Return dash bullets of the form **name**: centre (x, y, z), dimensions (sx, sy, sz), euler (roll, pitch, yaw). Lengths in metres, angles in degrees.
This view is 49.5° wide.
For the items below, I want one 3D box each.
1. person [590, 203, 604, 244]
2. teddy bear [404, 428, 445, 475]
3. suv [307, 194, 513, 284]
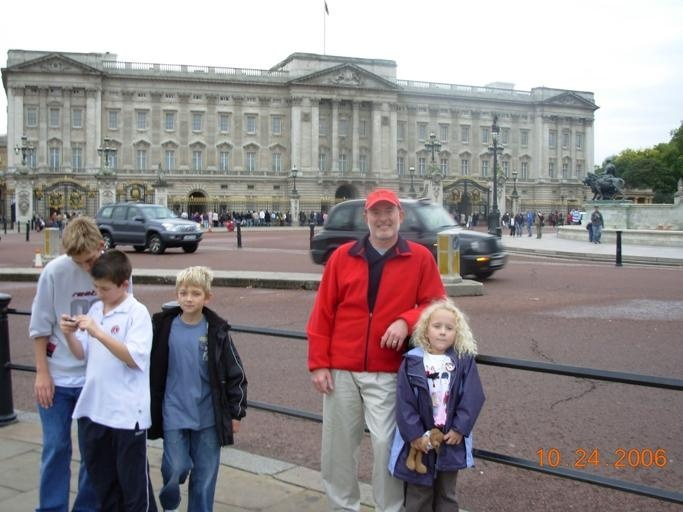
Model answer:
- **person**: centre (11.216, -1.341, 32.551), dimensions (0.555, 1.476, 2.699), euler (2, 5, 18)
- **teddy bear**: centre (0.555, 1.258, 5.104), dimensions (0.154, 0.488, 0.146), euler (16, 1, 35)
- **suv**: centre (1.566, -0.507, 16.531), dimensions (3.221, 1.621, 2.056), euler (0, 2, 17)
